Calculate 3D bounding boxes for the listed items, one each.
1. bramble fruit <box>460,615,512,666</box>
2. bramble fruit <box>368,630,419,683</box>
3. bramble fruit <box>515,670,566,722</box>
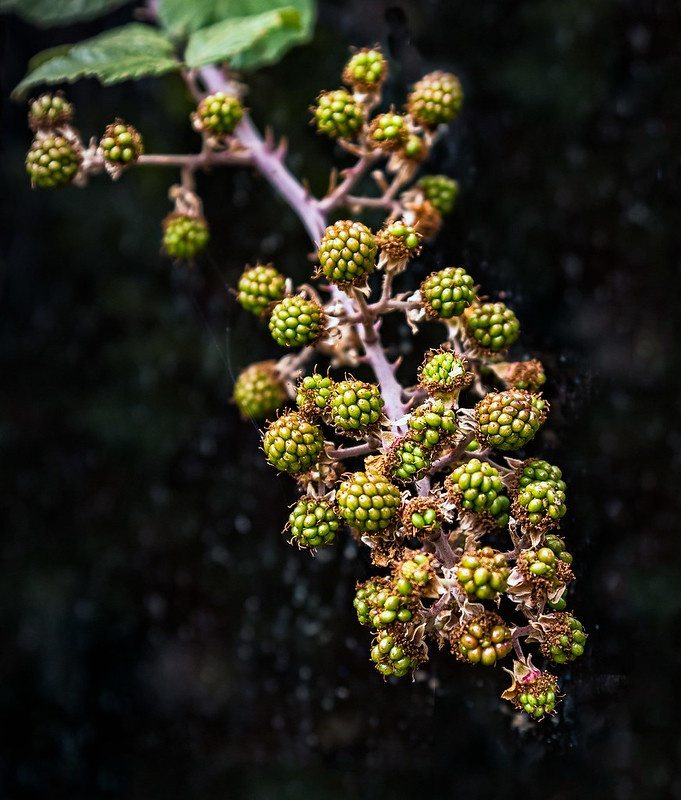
[{"bbox_3d":[0.148,0.253,1.206,0.060,0.049,0.059,-6,73,2],"label":"bramble fruit"},{"bbox_3d":[0.057,0.271,1.249,0.054,0.035,0.061,-5,40,-17],"label":"bramble fruit"},{"bbox_3d":[0.214,0.319,1.229,0.050,0.040,0.038,-43,70,-8],"label":"bramble fruit"}]
